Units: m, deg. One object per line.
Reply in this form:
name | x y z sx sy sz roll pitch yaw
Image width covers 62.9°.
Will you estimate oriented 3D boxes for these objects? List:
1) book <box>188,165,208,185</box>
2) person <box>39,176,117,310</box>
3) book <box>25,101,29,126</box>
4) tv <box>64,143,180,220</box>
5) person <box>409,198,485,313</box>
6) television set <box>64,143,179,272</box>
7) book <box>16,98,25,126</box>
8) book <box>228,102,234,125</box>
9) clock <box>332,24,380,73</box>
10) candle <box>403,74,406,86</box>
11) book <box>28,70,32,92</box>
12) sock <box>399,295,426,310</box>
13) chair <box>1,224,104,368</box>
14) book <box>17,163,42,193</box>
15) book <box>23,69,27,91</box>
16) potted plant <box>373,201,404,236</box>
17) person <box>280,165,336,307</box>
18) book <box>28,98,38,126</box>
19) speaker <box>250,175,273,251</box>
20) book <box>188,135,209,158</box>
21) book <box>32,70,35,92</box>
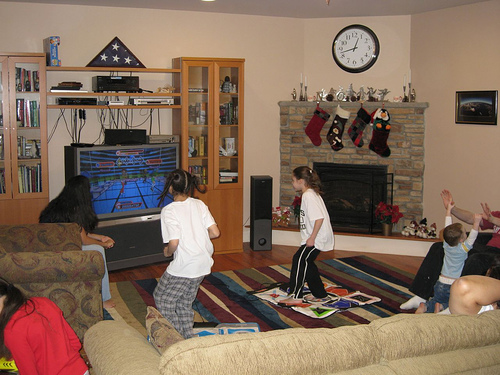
book | -0.639 -0.157 4.985 0.234 0.323 0.230 -4 10 -4
person | -1.691 0.562 4.026 0.774 1.220 0.492 -1 0 -31
book | -2.714 -0.891 4.979 0.041 0.293 0.031 -3 9 -16
tv | -1.698 -0.100 5.389 0.489 0.998 1.514 13 14 43
person | 1.787 0.739 3.753 0.367 1.231 0.638 -3 9 -27
television set | -1.460 0.214 4.532 1.485 1.689 0.655 -5 9 -28
book | -2.770 -0.907 4.968 0.086 0.315 0.032 -1 9 -5
book | -0.265 -1.051 5.831 0.073 0.288 0.023 -2 9 -14
clock | 1.674 -2.183 6.374 0.777 0.770 0.149 0 5 15
candle | 2.332 -1.615 6.175 0.043 0.196 0.262 3 9 19
book | -2.654 -1.277 4.957 0.035 0.245 0.052 -3 9 -19
sock | 1.651 1.142 4.121 0.324 0.142 0.104 -3 4 -12
chair | -1.459 0.578 3.114 0.912 0.861 0.963 -5 11 -34
book | -2.718 -0.079 5.167 0.411 0.388 0.233 13 15 34
book | -2.716 -1.285 4.941 0.043 0.248 0.063 -5 10 -28
potted plant | 1.988 0.463 6.105 0.459 0.481 0.436 3 4 37
person | 0.581 0.496 4.147 0.505 1.399 0.385 2 9 16
book | -2.646 -0.916 5.001 0.107 0.336 0.064 0 9 -1
speaker | 0.170 0.385 5.985 0.330 1.095 0.204 -1 9 -6
book | -0.719 -0.552 5.718 0.272 0.368 0.372 -2 8 -10
book | -2.632 -1.278 4.972 0.028 0.243 0.066 -4 10 -22
